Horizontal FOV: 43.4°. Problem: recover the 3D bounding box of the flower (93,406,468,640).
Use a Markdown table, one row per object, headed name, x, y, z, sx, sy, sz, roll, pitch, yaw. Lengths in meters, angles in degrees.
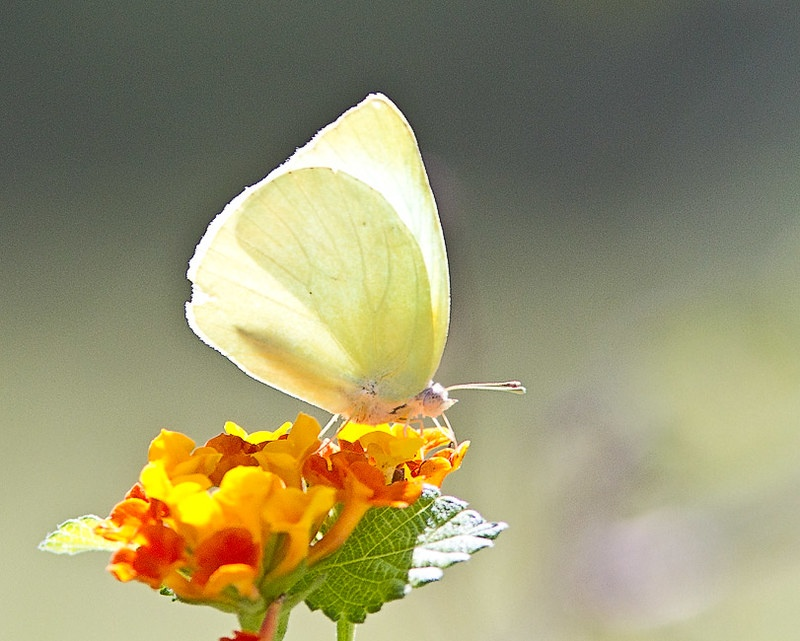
| name | x | y | z | sx | sy | sz | roll | pitch | yaw |
| --- | --- | --- | --- | --- | --- | --- | --- | --- | --- |
| flower | -0.169 | 0.242 | 1.257 | 0.313 | 0.175 | 0.296 | -3 | -4 | -39 |
